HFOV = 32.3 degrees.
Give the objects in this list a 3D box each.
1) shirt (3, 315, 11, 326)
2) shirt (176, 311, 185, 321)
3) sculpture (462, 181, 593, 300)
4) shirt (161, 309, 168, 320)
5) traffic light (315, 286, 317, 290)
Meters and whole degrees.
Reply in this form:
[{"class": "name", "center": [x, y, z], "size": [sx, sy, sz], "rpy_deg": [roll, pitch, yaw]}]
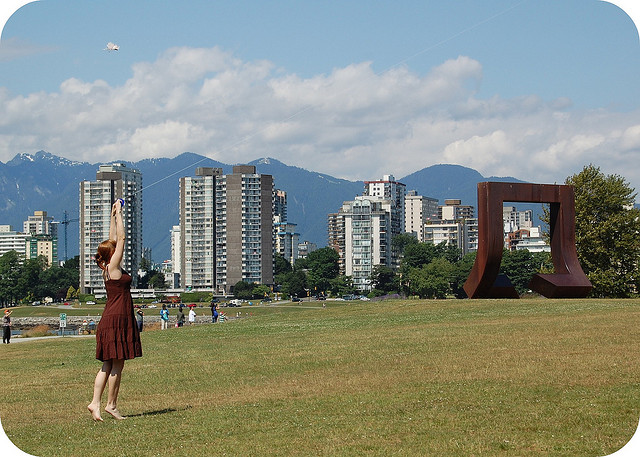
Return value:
[{"class": "shirt", "center": [-14.896, 4.367, 52.387], "size": [0.422, 0.686, 0.403], "rpy_deg": [-1, 1, -13]}, {"class": "shirt", "center": [-7.356, 4.586, 57.208], "size": [0.571, 0.606, 0.348], "rpy_deg": [0, -2, 4]}, {"class": "sculpture", "center": [10.408, 0.591, 55.388], "size": [5.459, 5.753, 4.397], "rpy_deg": [0, -1, -9]}, {"class": "shirt", "center": [-7.760, 4.301, 55.087], "size": [0.209, 0.504, 0.266], "rpy_deg": [-9, -16, 26]}, {"class": "traffic light", "center": [-0.716, 8.444, 157.167], "size": [0.495, 0.790, 0.494], "rpy_deg": [1, -4, 0]}]
